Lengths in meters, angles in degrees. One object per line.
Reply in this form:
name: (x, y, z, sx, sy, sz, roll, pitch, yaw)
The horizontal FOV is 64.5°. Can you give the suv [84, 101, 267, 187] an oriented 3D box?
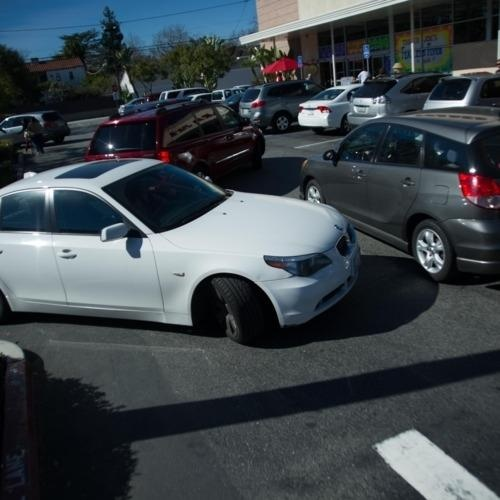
suv: (-1.215, -2.506, 9.595, 2.105, 1.469, 4.615, 11, 21, 35)
